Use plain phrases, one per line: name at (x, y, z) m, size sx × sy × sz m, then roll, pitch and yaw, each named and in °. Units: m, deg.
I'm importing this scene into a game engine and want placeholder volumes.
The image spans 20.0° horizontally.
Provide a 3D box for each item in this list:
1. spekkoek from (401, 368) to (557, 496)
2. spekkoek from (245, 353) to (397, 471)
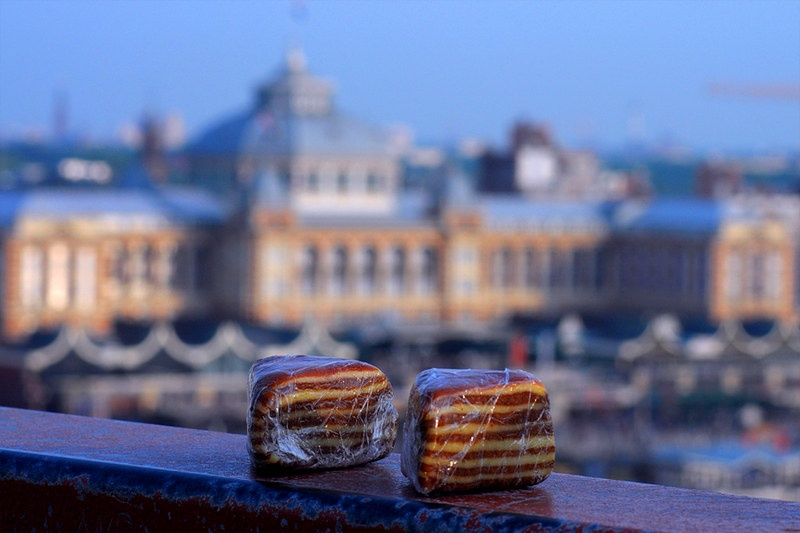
spekkoek at (0.690, 1.305, 18.274) m, size 1.004 × 1.022 × 0.818 m, roll -1°, pitch 2°, yaw 34°
spekkoek at (-0.655, 1.201, 18.707) m, size 1.272 × 0.904 × 0.963 m, roll -6°, pitch 8°, yaw -24°
